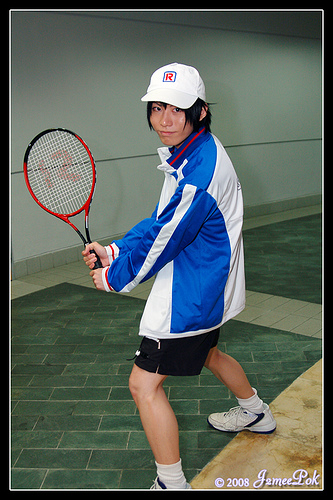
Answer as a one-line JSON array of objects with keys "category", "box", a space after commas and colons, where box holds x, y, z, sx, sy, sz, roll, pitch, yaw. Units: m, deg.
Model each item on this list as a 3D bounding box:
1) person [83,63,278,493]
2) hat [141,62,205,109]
[{"category": "person", "box": [0.002, 0.155, 1.779, 0.637, 1.714, 0.871, 1, 10, 28]}, {"category": "hat", "box": [0.014, -0.578, 1.404, 0.200, 0.138, 0.254, 4, 3, -1]}]
